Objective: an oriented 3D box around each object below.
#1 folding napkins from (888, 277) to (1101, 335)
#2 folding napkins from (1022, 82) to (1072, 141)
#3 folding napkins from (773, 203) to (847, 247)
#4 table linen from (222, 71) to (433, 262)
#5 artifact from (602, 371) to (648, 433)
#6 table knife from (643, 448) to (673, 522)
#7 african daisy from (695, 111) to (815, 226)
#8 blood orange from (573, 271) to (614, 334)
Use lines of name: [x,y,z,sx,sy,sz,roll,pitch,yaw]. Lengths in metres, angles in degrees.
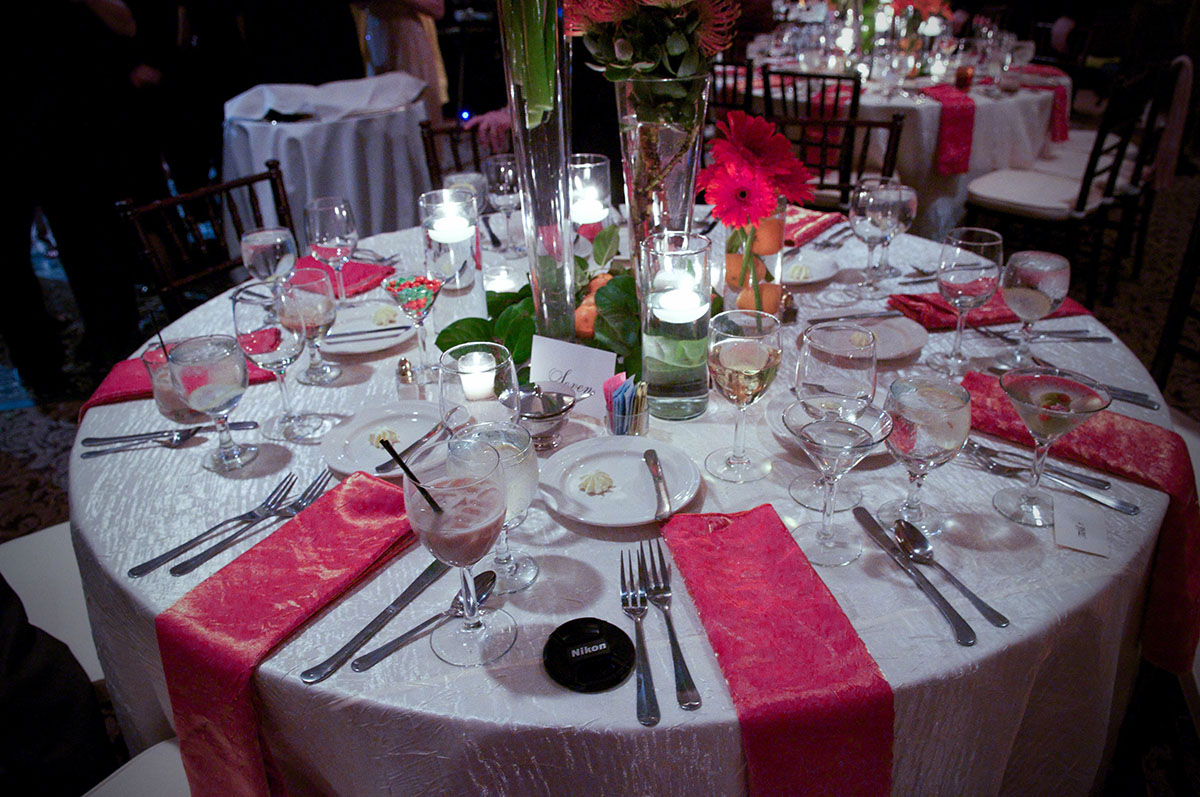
folding napkins: [0.962,-0.305,2.238,0.614,0.116,0.566,-9,17,-35]
folding napkins: [2.534,-1.614,4.464,0.259,0.268,0.255,-9,28,19]
folding napkins: [0.690,-0.579,2.627,0.238,0.042,0.241,19,39,38]
table linen: [-1.432,-1.322,4.455,0.870,0.698,0.866,-5,31,-24]
artifact: [0.063,0.005,1.872,0.117,0.159,0.125,4,15,26]
table knife: [0.121,0.178,1.675,0.033,0.023,0.218,-7,34,-2]
african daisy: [0.322,-0.503,1.756,0.196,0.273,0.213,-23,35,-39]
blood orange: [-0.014,-0.240,2.009,0.072,0.176,0.076,8,-15,28]
